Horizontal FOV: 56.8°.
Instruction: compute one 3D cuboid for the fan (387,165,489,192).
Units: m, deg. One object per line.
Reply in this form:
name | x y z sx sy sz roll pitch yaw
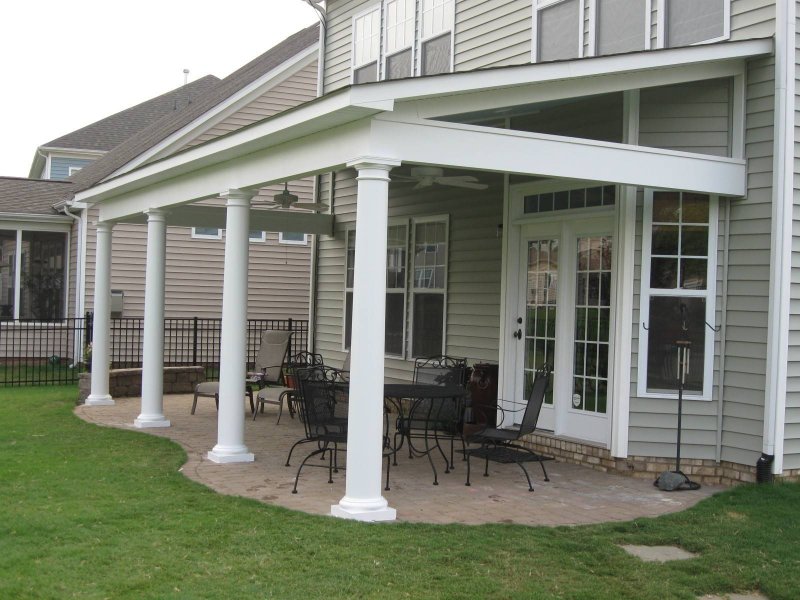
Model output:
fan | 0.400 -1.585 9.547 0.793 0.136 0.786 -1 4 -44
